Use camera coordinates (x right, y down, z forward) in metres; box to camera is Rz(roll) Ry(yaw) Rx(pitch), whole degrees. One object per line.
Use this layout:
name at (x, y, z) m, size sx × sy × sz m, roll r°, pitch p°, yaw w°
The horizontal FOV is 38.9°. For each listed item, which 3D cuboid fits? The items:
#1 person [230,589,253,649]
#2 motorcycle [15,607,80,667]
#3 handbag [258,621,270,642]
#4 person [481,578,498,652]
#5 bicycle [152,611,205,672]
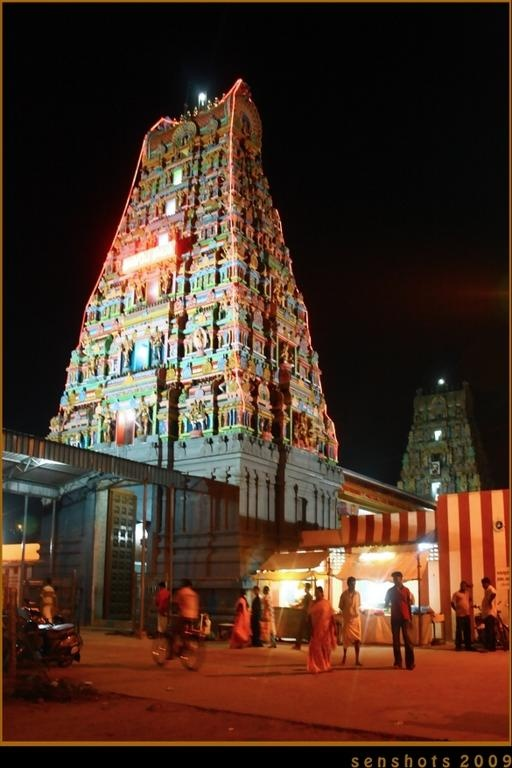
person at (-0.368, 5.411, 16.508) m, size 0.394 × 1.078 × 0.803 m, roll -2°, pitch -15°, yaw 10°
motorcycle at (-3.249, 3.956, 11.311) m, size 0.991 × 0.871 × 0.737 m, roll 6°, pitch -16°, yaw -21°
handbag at (0.229, 5.790, 17.039) m, size 0.187 × 0.425 × 0.327 m, roll 13°, pitch -19°, yaw -40°
person at (4.754, 4.694, 14.809) m, size 0.335 × 1.410 × 1.818 m, roll -4°, pitch -16°, yaw 17°
bicycle at (-1.200, 4.103, 11.558) m, size 0.553 × 0.756 × 1.242 m, roll 10°, pitch -17°, yaw -31°
